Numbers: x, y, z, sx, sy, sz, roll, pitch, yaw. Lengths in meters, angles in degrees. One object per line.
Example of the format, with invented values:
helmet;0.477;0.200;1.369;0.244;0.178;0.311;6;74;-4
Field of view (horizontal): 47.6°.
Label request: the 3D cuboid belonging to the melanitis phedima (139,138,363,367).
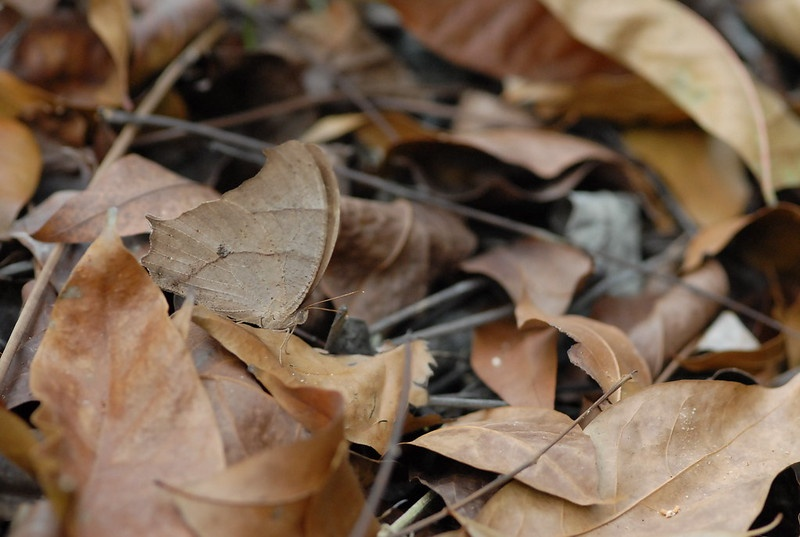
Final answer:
melanitis phedima;-0.261;-0.071;1.503;0.305;0.299;0.147;16;30;-4
